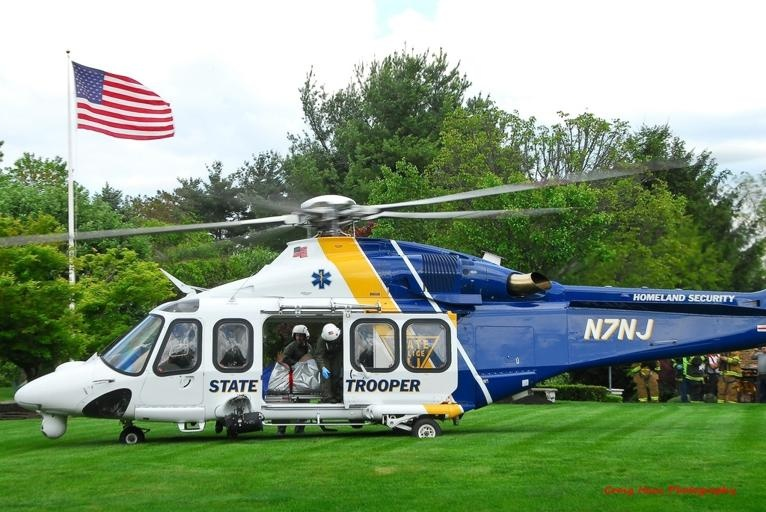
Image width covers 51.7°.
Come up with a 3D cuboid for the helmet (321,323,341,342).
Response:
[{"bbox_3d":[-1.401,2.056,21.214,0.485,0.271,0.540,-16,34,-9],"label":"helmet"}]

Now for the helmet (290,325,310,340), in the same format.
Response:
[{"bbox_3d":[-2.303,2.128,22.103,0.413,0.313,0.474,1,7,19],"label":"helmet"}]

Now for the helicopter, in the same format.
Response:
[{"bbox_3d":[-0.041,0.618,21.932,14.711,3.731,9.561,1,-6,-2],"label":"helicopter"}]

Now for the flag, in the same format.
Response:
[{"bbox_3d":[-10.725,-6.243,32.800,5.346,2.986,0.305,9,15,23],"label":"flag"}]
